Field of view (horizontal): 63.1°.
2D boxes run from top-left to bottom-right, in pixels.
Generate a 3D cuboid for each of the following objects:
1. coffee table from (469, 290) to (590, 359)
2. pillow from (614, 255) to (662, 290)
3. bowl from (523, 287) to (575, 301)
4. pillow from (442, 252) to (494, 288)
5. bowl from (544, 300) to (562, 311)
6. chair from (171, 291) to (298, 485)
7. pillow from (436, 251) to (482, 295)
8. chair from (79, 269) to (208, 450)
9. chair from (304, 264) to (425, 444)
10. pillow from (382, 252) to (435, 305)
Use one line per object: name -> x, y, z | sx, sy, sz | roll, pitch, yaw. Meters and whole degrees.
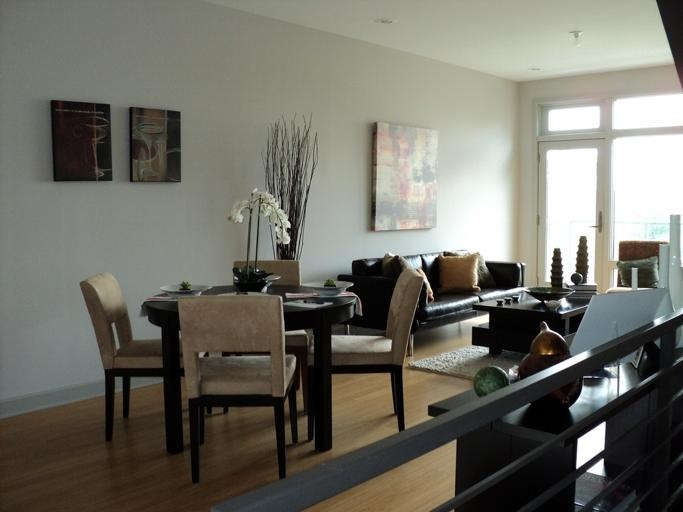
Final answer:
coffee table -> 1.736, 0.677, 5.170 | 1.020, 0.544, 0.721 | 1, 7, 10
pillow -> 3.536, 0.205, 6.658 | 0.421, 0.348, 0.533 | 3, 8, 26
bowl -> 1.927, 0.352, 5.117 | 0.213, 0.062, 0.222 | -2, 6, 0
pillow -> 1.639, 0.154, 6.738 | 0.472, 0.512, 0.180 | -3, -5, -12
bowl -> 1.909, 0.443, 4.997 | 0.099, 0.051, 0.105 | 0, 4, 0
chair -> -0.571, 0.665, 3.279 | 0.608, 1.054, 0.721 | -1, 9, -8
pillow -> 1.314, 0.211, 6.270 | 0.456, 0.506, 0.190 | -3, -24, 17
chair -> -1.311, 0.644, 3.680 | 0.741, 1.003, 0.749 | 0, 3, 43
chair -> 0.158, 0.618, 3.856 | 0.763, 1.030, 0.652 | 0, 2, 5
pillow -> 0.662, 0.154, 5.608 | 0.144, 0.514, 0.498 | -13, -25, 18
